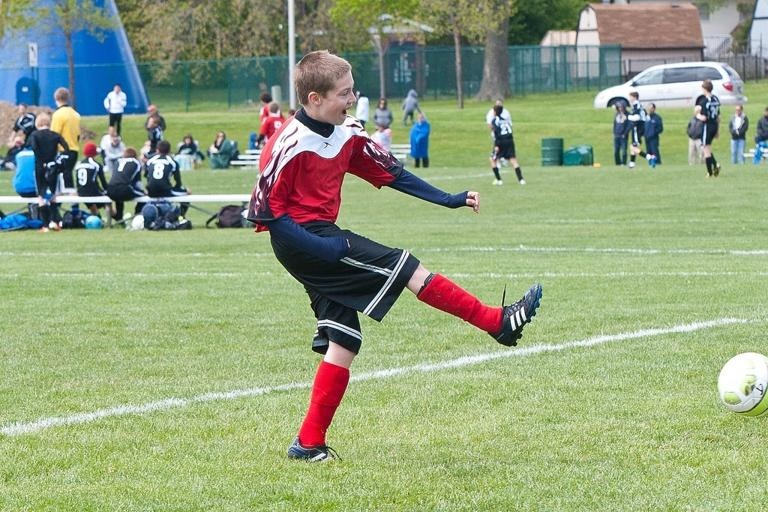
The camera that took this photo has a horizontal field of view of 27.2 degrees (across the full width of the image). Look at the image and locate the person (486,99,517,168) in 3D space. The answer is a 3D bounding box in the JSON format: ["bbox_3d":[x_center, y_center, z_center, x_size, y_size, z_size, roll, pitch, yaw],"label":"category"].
[{"bbox_3d":[3.353,-3.564,45.836,0.643,1.680,0.530,-6,-7,-2],"label":"person"}]

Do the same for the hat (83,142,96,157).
[{"bbox_3d":[-7.638,-2.818,41.285,0.334,0.363,0.459,1,0,-12],"label":"hat"}]

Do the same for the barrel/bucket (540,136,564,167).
[{"bbox_3d":[5.392,-3.417,51.276,0.843,0.857,0.827,-1,1,0],"label":"barrel/bucket"}]

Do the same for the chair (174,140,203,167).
[{"bbox_3d":[-6.400,-3.391,52.212,0.731,0.954,0.474,-3,20,-21],"label":"chair"}]
